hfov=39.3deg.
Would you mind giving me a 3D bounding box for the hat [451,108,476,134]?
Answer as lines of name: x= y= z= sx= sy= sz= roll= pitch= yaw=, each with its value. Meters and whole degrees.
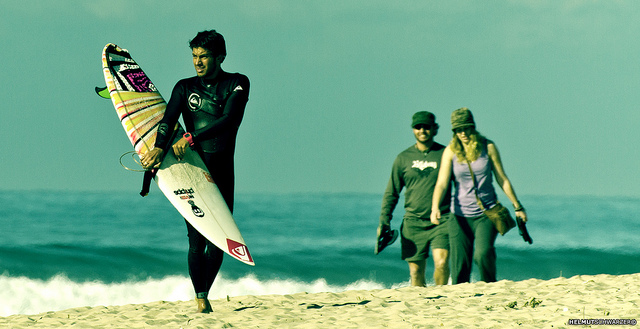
hat: x=5.003 y=-1.538 z=31.311 sx=0.714 sy=0.823 sz=0.345 roll=-2 pitch=6 yaw=13
